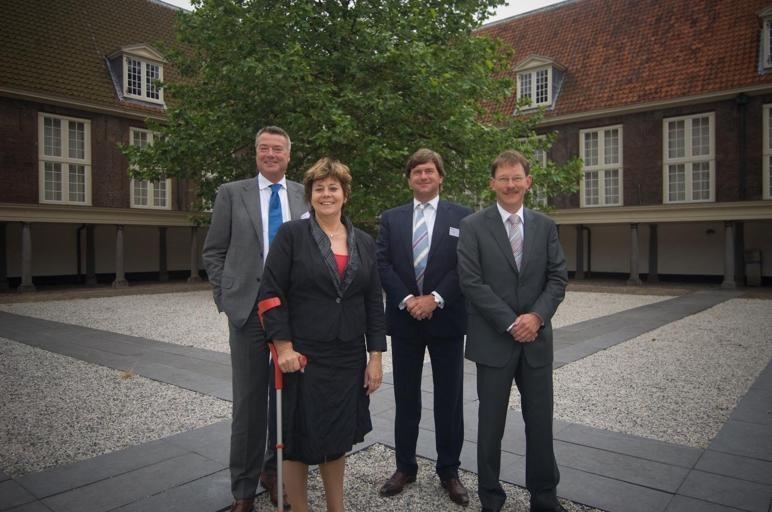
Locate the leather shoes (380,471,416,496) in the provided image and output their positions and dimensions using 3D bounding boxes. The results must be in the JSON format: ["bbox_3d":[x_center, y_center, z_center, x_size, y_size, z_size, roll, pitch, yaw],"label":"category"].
[{"bbox_3d":[0.113,2.577,6.305,0.509,0.197,0.169,1,2,-42],"label":"leather shoes"}]
